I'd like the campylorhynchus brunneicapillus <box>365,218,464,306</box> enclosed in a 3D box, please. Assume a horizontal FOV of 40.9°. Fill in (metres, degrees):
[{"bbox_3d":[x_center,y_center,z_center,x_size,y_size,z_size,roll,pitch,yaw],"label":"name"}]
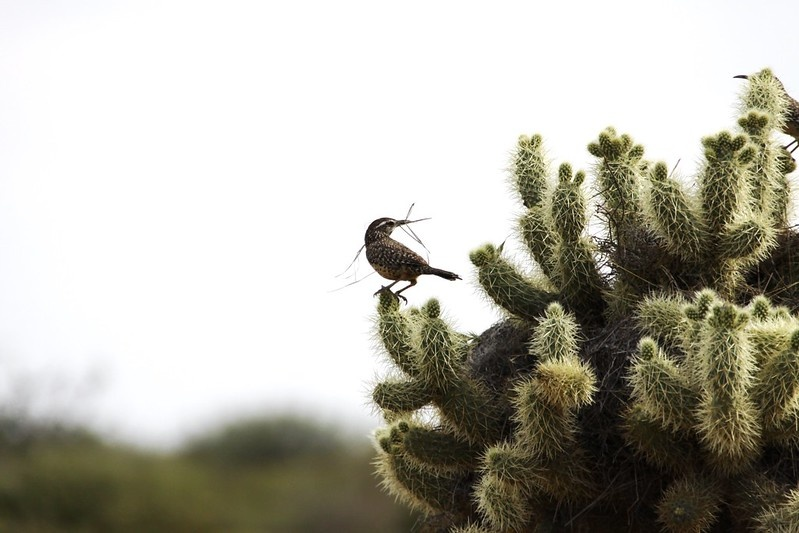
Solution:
[{"bbox_3d":[0.072,-0.060,6.166,0.602,0.526,0.254,6,-4,35],"label":"campylorhynchus brunneicapillus"}]
